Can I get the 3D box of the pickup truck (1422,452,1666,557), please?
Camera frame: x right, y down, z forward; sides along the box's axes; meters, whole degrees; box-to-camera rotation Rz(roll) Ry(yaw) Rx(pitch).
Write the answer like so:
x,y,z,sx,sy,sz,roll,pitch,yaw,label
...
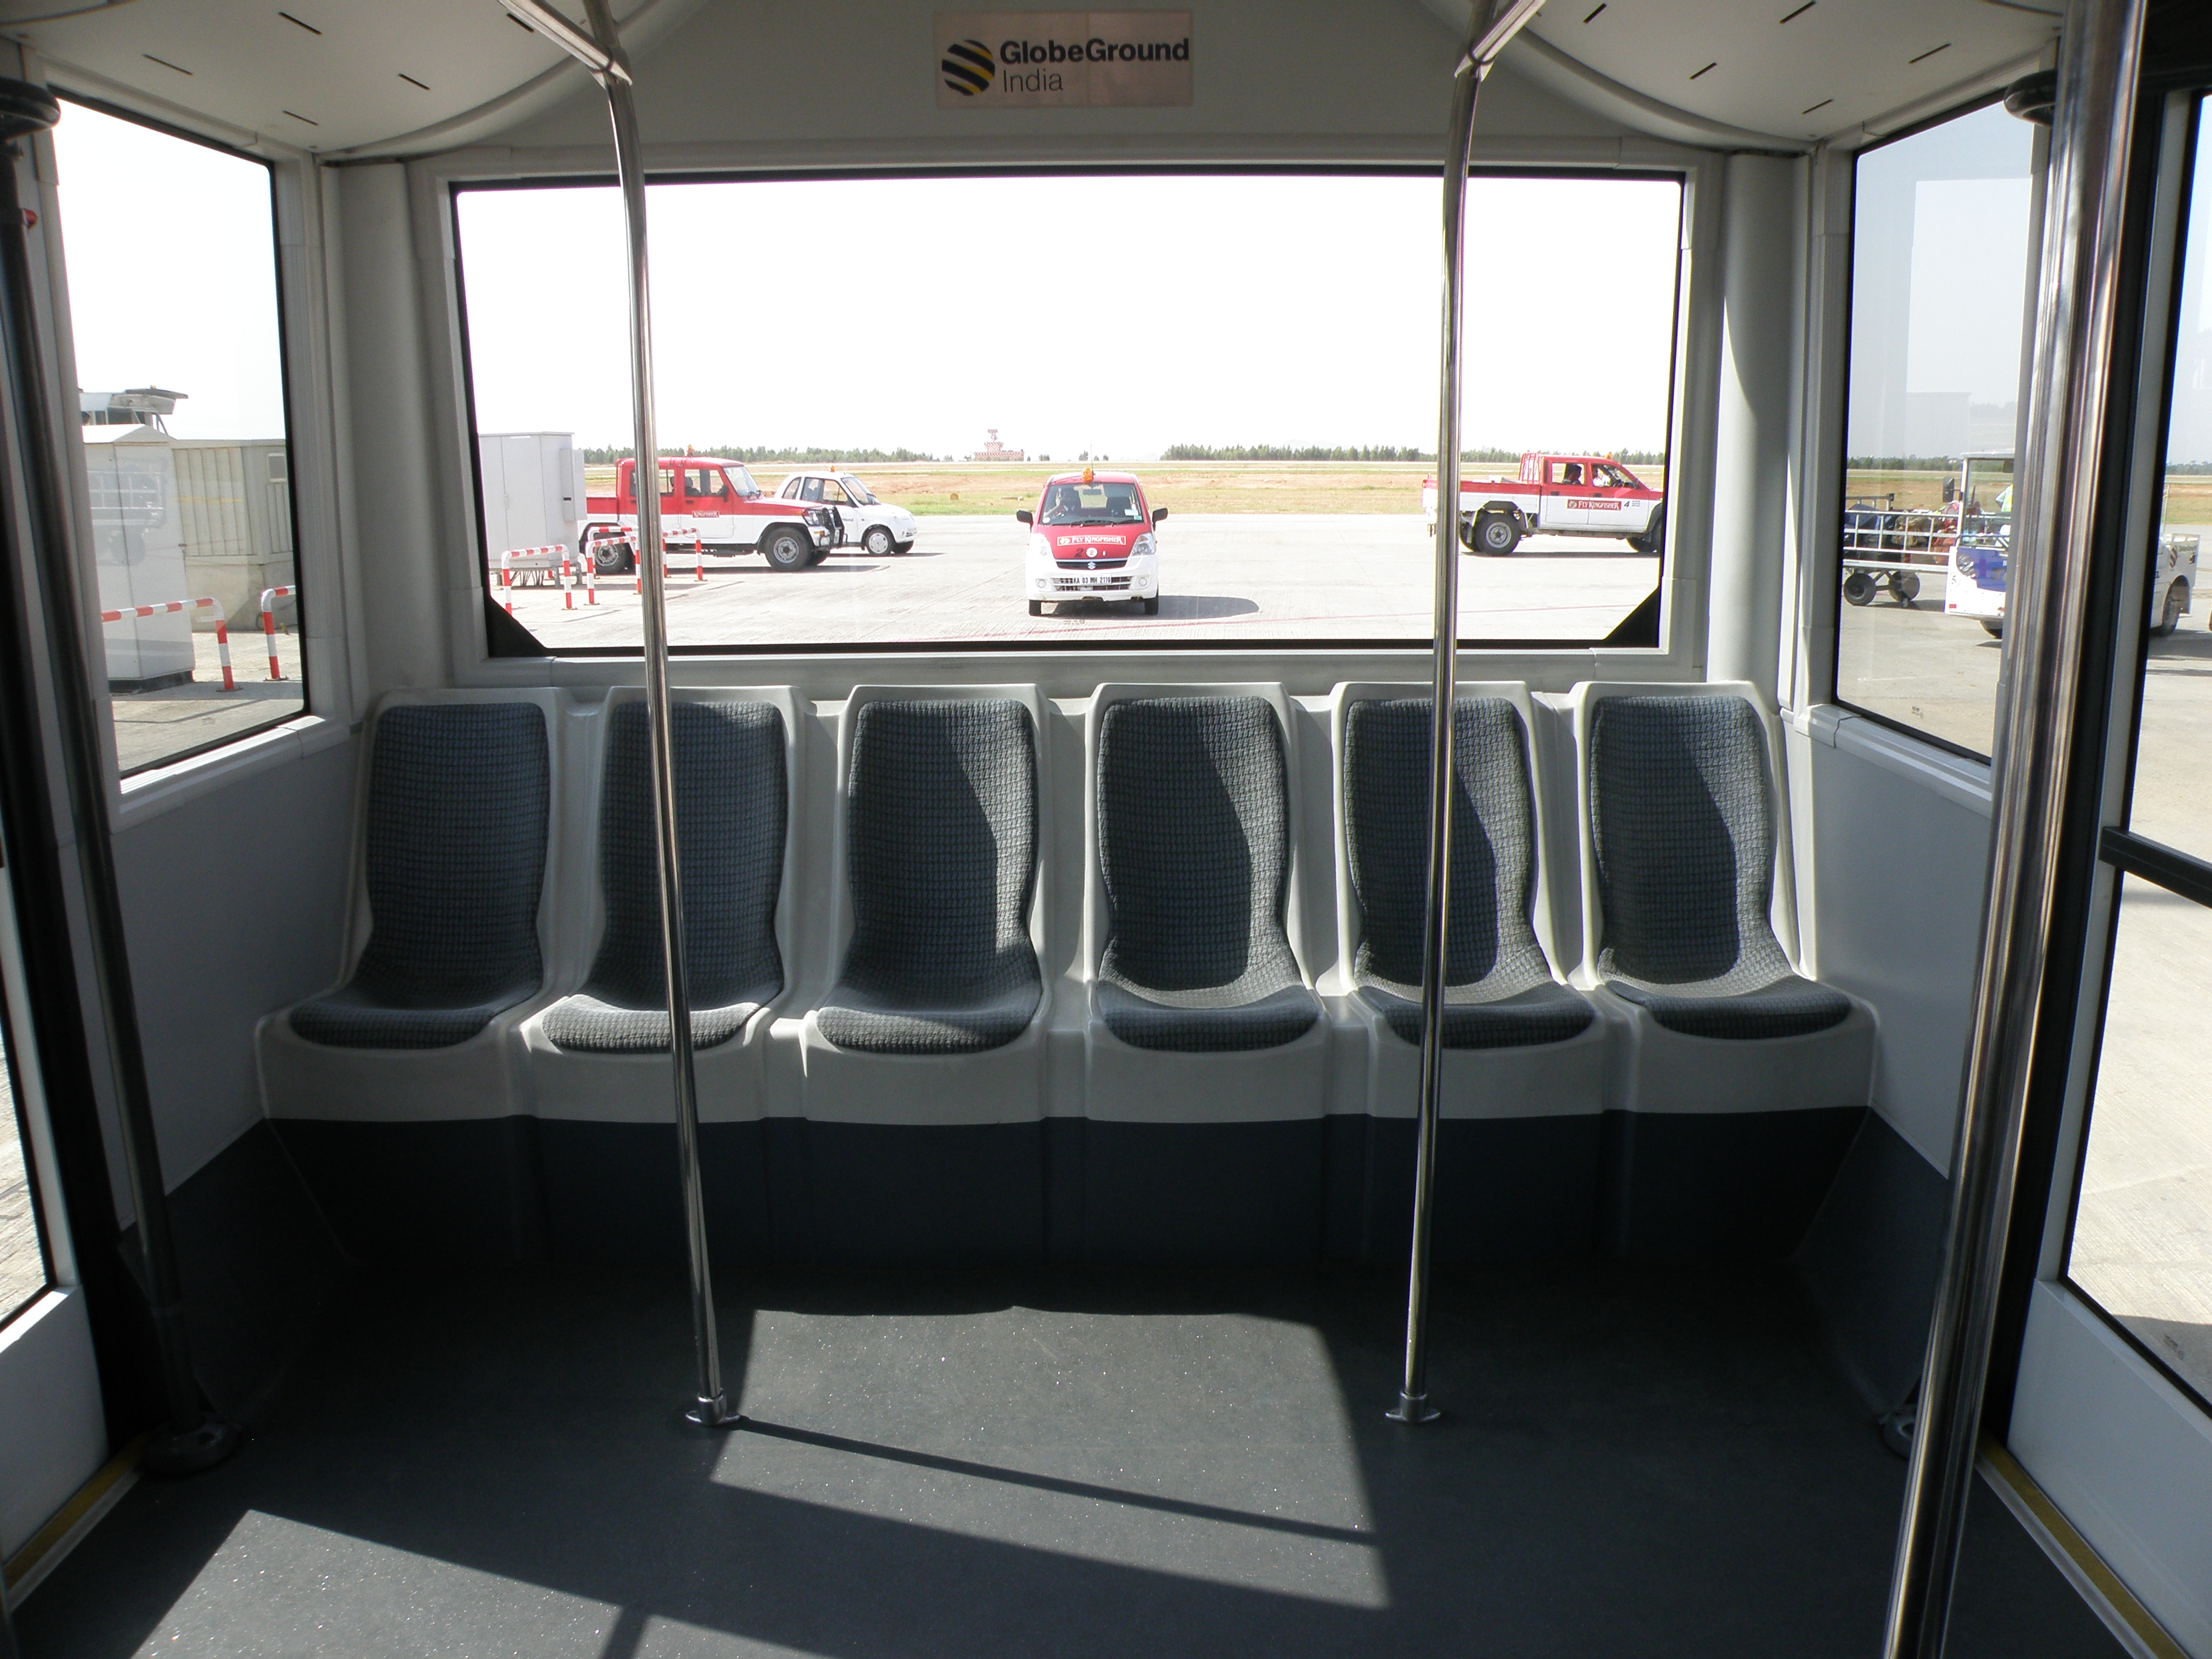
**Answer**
x,y,z,sx,sy,sz,roll,pitch,yaw,label
2.743,-1.959,10.130,0.901,0.814,1.659,1,19,5,pickup truck
